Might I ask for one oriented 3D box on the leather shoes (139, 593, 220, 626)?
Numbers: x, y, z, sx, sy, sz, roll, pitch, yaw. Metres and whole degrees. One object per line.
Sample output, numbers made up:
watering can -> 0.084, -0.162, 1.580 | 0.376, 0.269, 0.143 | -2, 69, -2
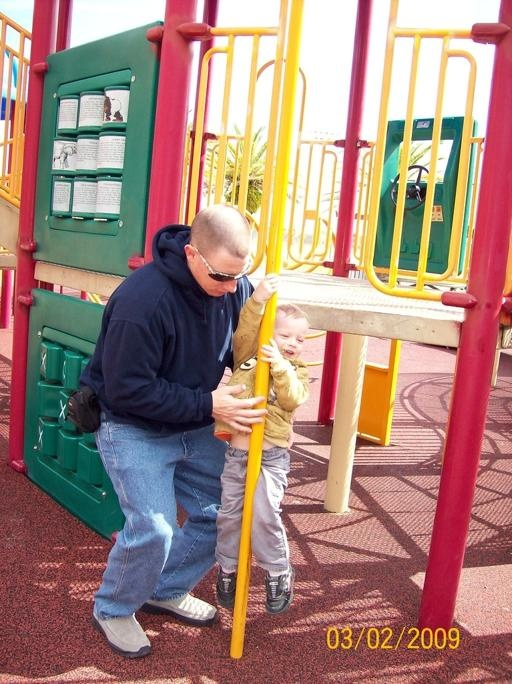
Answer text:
leather shoes -> -0.243, 0.864, 1.826 | 0.235, 0.100, 0.087 | 7, 15, 9

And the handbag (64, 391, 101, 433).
handbag -> -0.506, 0.194, 1.713 | 0.108, 0.160, 0.157 | 2, -3, -32

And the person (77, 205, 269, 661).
person -> -0.214, 0.263, 1.669 | 0.566, 1.268, 0.503 | 9, 11, 24

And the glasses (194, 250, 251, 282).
glasses -> -0.049, -0.182, 1.436 | 0.102, 0.070, 0.185 | 8, 4, 40

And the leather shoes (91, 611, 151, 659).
leather shoes -> -0.394, 0.825, 1.649 | 0.178, 0.082, 0.073 | 21, 23, 41

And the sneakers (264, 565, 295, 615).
sneakers -> 0.066, 0.713, 1.606 | 0.058, 0.145, 0.066 | 0, 6, 12

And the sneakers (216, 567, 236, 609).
sneakers -> -0.081, 0.737, 1.674 | 0.046, 0.128, 0.051 | 0, 13, 10
